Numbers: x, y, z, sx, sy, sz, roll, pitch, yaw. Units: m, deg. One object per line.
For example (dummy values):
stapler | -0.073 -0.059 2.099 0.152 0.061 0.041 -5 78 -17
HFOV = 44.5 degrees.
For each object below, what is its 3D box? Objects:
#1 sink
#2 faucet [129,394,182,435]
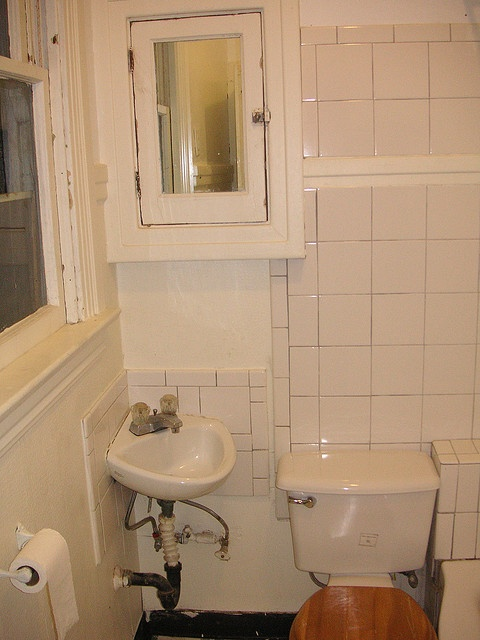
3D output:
sink | -0.179 0.375 1.588 0.332 0.121 0.380 -7 20 -18
faucet | -0.232 0.251 1.636 0.099 0.048 0.134 1 10 -6
